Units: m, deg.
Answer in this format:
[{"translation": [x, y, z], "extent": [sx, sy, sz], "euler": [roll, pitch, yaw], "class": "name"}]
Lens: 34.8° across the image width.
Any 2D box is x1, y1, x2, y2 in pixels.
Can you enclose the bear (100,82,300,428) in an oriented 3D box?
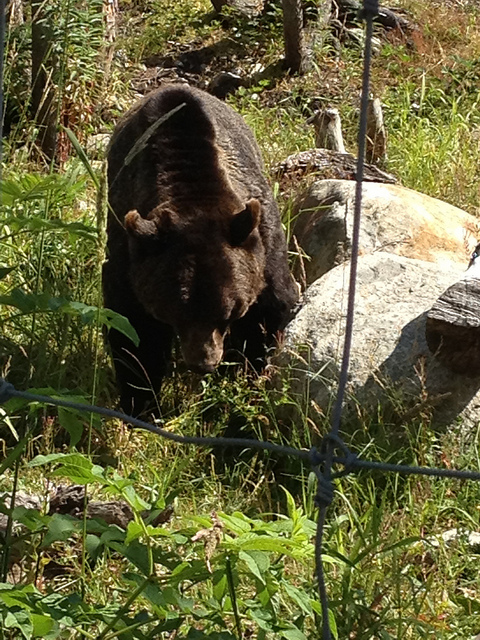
[{"translation": [-0.230, -0.305, 4.027], "extent": [0.995, 1.771, 1.082], "euler": [5, 17, -11], "class": "bear"}]
